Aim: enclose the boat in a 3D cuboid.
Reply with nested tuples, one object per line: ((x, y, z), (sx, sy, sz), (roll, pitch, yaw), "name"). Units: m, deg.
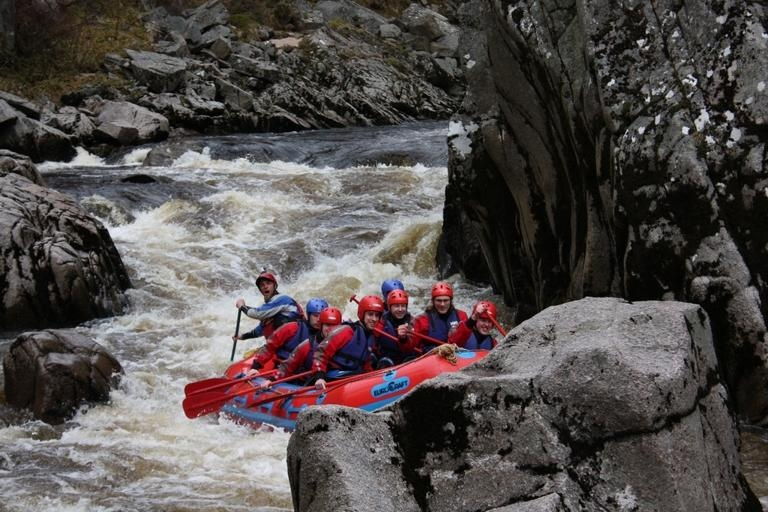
((-0.847, 2.213, 15.859), (3.020, 0.650, 1.837), (-20, -8, 17), "boat")

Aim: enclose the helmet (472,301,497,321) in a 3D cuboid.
((1.681, 0.847, 15.964), (0.351, 0.263, 0.275), (-12, 50, 24), "helmet")

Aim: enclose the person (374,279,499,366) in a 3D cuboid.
((1.119, 1.199, 16.260), (1.534, 0.714, 1.216), (-12, 30, -19), "person")

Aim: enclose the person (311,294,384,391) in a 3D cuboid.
((-0.580, 1.466, 16.042), (0.632, 1.883, 1.126), (38, 16, 31), "person")

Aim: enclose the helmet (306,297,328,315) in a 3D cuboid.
((-1.119, 0.853, 16.403), (0.236, 0.305, 0.323), (2, 10, -18), "helmet")

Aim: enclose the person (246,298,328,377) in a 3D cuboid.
((-1.633, 1.407, 16.713), (1.744, 0.534, 1.231), (-39, -22, 20), "person")
